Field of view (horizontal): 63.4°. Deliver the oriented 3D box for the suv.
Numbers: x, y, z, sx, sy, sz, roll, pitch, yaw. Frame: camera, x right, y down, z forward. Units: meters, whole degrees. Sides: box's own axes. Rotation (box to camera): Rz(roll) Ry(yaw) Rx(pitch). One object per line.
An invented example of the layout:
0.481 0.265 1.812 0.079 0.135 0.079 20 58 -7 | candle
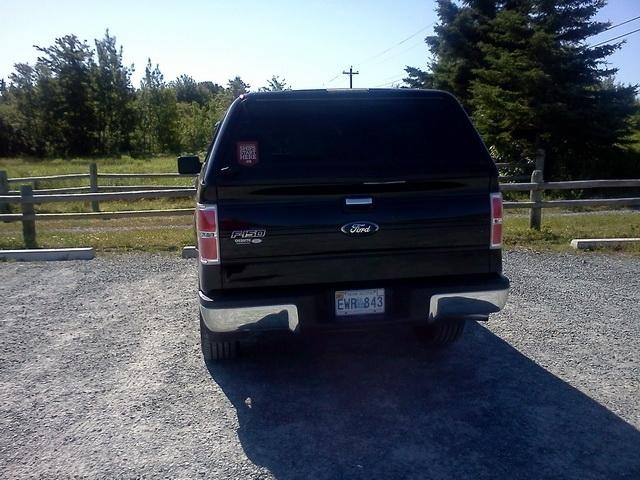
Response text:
-0.557 -0.549 6.296 2.918 2.347 5.182 -4 16 -18 | suv
